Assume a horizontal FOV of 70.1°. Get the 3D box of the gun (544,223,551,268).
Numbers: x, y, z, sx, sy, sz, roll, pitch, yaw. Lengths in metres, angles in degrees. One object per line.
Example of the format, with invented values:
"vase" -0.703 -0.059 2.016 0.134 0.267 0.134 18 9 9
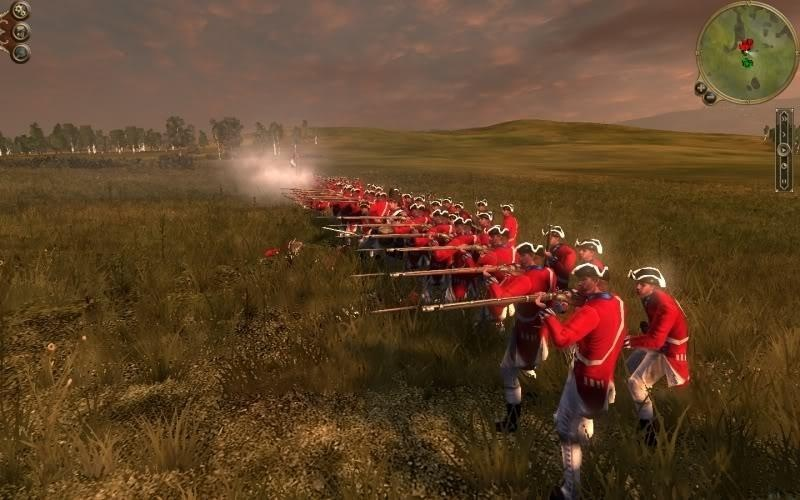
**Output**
"gun" 4.721 -0.105 18.282 0.166 1.615 0.260 0 -4 -13
